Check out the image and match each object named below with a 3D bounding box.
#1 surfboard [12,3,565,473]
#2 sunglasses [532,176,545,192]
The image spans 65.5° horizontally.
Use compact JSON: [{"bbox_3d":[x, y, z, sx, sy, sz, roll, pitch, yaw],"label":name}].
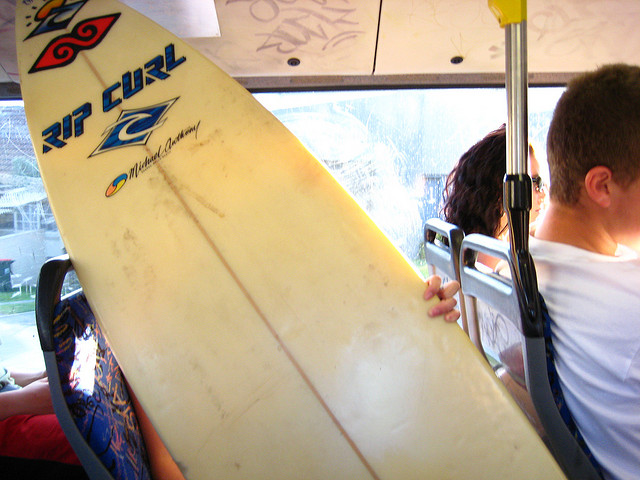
[{"bbox_3d":[-0.336,0.020,2.010,0.861,3.050,0.300,-38,-16,-1],"label":"surfboard"},{"bbox_3d":[1.083,-0.270,2.436,0.031,0.104,0.079,3,-19,36],"label":"sunglasses"}]
